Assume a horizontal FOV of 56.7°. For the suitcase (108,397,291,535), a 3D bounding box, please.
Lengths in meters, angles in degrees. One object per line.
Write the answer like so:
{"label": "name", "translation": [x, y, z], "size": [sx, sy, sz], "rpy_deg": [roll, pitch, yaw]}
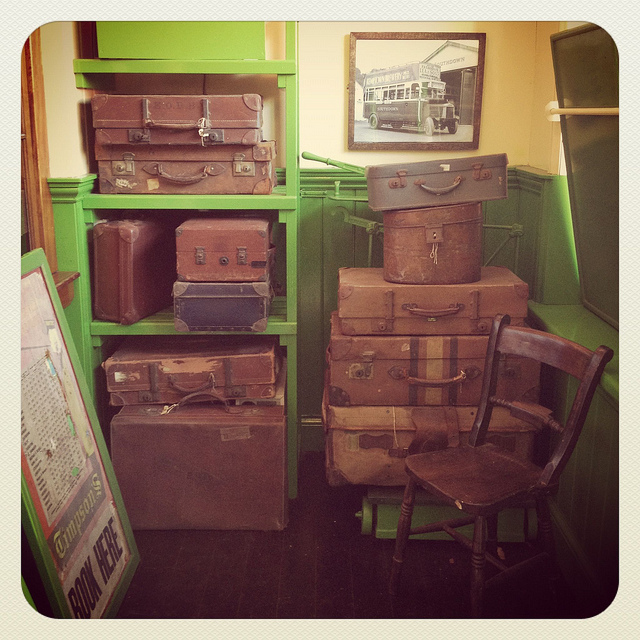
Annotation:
{"label": "suitcase", "translation": [-0.488, 0.626, 2.500], "size": [0.834, 0.654, 0.503], "rpy_deg": [0, 7, 0]}

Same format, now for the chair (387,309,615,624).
{"label": "chair", "translation": [0.640, 0.478, 2.158], "size": [0.662, 1.044, 1.008], "rpy_deg": [5, 14, 24]}

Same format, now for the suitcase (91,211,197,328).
{"label": "suitcase", "translation": [-0.783, -0.208, 2.594], "size": [0.145, 0.370, 0.420], "rpy_deg": [5, 20, 9]}

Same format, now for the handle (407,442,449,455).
{"label": "handle", "translation": [0.428, 0.500, 2.336], "size": [0.085, 0.025, 0.090], "rpy_deg": [0, 2, 2]}

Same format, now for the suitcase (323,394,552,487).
{"label": "suitcase", "translation": [0.321, 0.470, 2.348], "size": [0.594, 0.242, 0.491], "rpy_deg": [1, 7, -1]}

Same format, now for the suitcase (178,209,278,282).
{"label": "suitcase", "translation": [-0.403, -0.296, 2.590], "size": [0.330, 0.229, 0.449], "rpy_deg": [0, 10, 0]}

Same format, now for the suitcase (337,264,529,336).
{"label": "suitcase", "translation": [0.534, -0.105, 2.796], "size": [0.919, 0.250, 0.892], "rpy_deg": [4, 12, 27]}

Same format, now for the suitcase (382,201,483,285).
{"label": "suitcase", "translation": [0.489, -0.351, 2.547], "size": [0.433, 0.339, 0.278], "rpy_deg": [-4, 24, 6]}

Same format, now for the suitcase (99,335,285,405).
{"label": "suitcase", "translation": [-0.586, 0.210, 2.706], "size": [0.858, 0.290, 0.323], "rpy_deg": [-1, 12, 1]}
